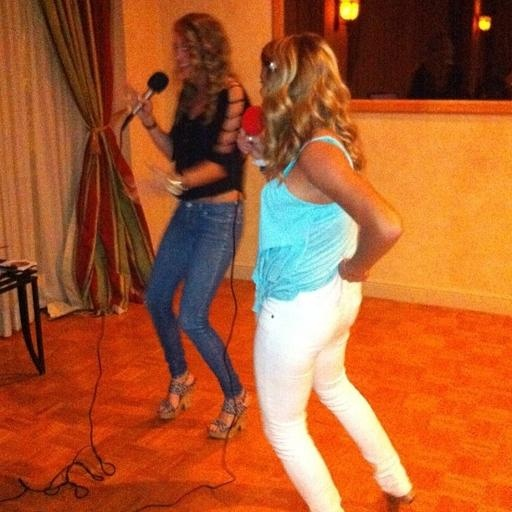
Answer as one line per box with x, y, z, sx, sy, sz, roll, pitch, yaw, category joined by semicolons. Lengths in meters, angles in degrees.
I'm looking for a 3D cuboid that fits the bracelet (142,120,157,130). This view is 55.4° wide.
-0.464;-0.590;2.188;0.041;0.017;0.047;-3;54;1;bracelet

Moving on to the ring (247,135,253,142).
-0.017;-0.373;1.543;0.018;0.022;0.005;5;1;3;ring

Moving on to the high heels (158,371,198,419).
-0.355;0.641;2.380;0.092;0.119;0.269;-1;32;28;high heels

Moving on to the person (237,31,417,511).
0.185;0.113;1.193;0.388;1.258;0.431;0;11;1;person

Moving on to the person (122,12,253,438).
-0.245;-0.069;2.034;0.486;1.771;0.316;8;14;37;person
